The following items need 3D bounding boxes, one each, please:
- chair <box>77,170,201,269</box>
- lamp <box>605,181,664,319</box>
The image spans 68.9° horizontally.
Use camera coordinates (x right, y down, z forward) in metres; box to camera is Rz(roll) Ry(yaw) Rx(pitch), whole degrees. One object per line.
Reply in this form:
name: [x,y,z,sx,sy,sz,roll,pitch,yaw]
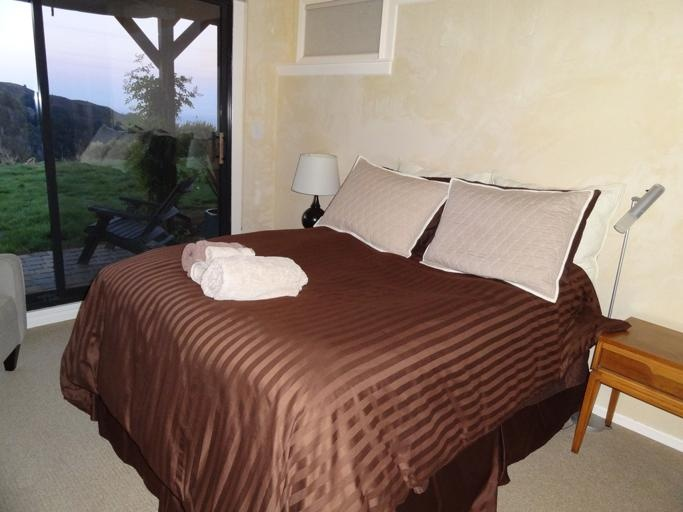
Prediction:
chair: [-1.671,-0.310,4.207,0.751,0.810,0.573,9,18,-8]
lamp: [1.610,-0.021,2.860,0.170,0.834,0.381,23,27,29]
